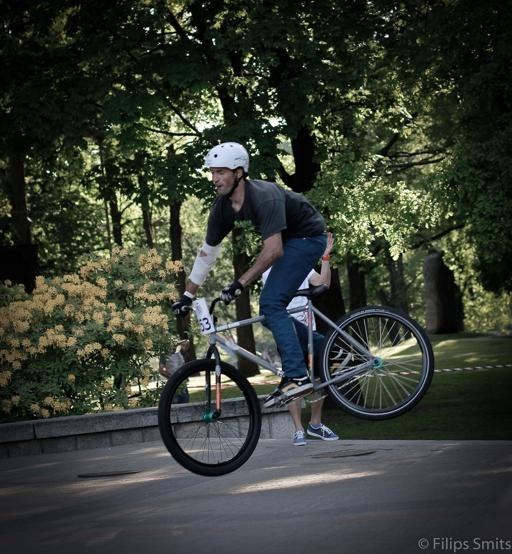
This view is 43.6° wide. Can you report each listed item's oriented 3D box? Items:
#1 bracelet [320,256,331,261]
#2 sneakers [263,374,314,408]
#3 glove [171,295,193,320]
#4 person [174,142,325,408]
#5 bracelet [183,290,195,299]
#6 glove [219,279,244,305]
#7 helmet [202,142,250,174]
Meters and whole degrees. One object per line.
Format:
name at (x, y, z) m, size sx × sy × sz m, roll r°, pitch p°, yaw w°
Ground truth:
bracelet at (0.653, -0.181, 6.048) m, size 0.083 × 0.048 × 0.075 m, roll -2°, pitch -1°, yaw 43°
sneakers at (0.212, 0.868, 4.727) m, size 0.492 × 0.183 × 0.164 m, roll -24°, pitch -42°, yaw 28°
glove at (-0.540, 0.224, 4.723) m, size 0.065 × 0.177 × 0.138 m, roll 29°, pitch -24°, yaw 11°
person at (-0.005, -0.013, 4.754) m, size 1.104 × 1.927 × 0.803 m, roll -5°, pitch -5°, yaw 5°
bracelet at (-0.497, 0.127, 4.752) m, size 0.059 × 0.040 × 0.057 m, roll 37°, pitch -3°, yaw 8°
glove at (-0.155, 0.117, 4.458) m, size 0.210 × 0.081 × 0.115 m, roll -34°, pitch 31°, yaw 7°
helmet at (-0.236, -0.864, 4.658) m, size 0.307 × 0.183 × 0.210 m, roll -15°, pitch 19°, yaw -27°
